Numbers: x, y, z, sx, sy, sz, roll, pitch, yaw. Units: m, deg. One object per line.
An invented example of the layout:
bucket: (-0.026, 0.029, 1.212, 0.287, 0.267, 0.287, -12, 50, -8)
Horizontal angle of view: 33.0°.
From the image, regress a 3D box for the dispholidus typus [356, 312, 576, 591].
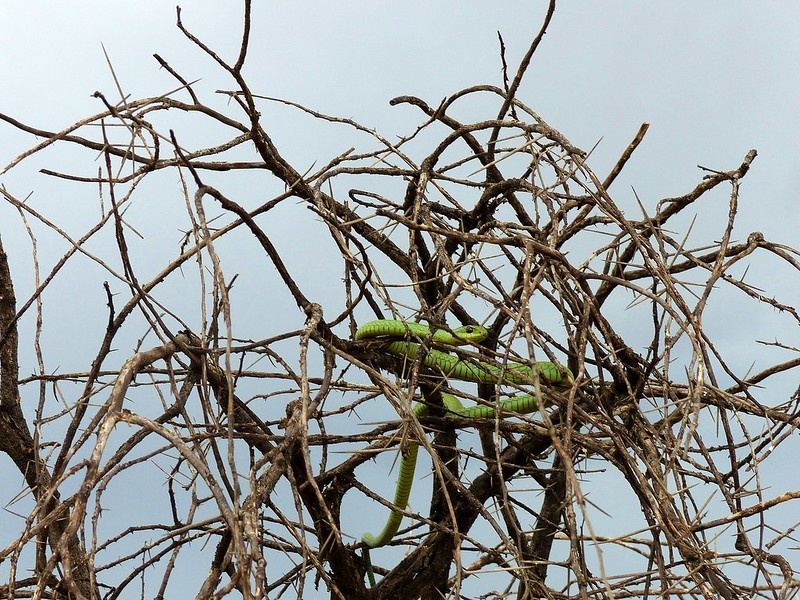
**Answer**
dispholidus typus: (0.262, 0.791, 10.279, 1.539, 2.257, 0.442, 17, -66, 33)
